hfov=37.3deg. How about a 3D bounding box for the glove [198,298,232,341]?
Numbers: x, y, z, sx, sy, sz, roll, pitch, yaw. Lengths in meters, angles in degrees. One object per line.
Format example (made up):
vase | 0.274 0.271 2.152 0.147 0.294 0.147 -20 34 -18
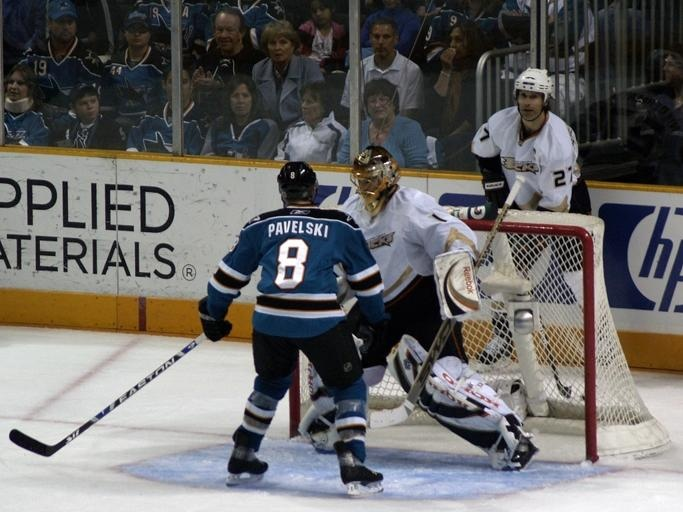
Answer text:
glove | -0.588 0.316 4.764 0.143 0.210 0.081 3 10 4

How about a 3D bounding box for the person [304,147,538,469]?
person | 0.274 0.266 4.896 1.310 1.584 0.767 2 10 35

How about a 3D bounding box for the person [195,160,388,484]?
person | -0.217 0.316 4.514 0.816 1.420 0.496 0 12 3

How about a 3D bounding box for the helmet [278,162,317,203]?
helmet | -0.208 -0.334 4.668 0.144 0.194 0.195 1 7 5

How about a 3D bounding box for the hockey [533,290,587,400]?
hockey | 1.172 0.471 5.492 0.124 0.605 0.317 -4 4 1

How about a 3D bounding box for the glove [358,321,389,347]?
glove | 0.154 0.380 4.859 0.101 0.102 0.132 9 -5 -32

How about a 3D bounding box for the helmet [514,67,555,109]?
helmet | 1.084 -0.968 5.748 0.174 0.243 0.235 9 25 16
